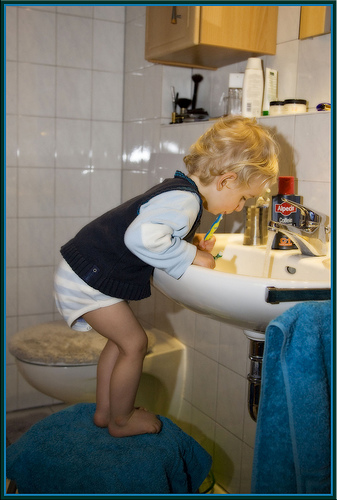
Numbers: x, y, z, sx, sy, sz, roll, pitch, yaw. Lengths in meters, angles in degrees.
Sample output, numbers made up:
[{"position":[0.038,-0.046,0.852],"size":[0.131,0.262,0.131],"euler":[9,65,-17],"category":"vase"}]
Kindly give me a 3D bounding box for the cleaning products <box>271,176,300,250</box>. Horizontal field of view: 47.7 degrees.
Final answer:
[{"position":[0.287,-0.091,0.932],"size":[0.068,0.175,0.044],"euler":[3,13,21],"category":"cleaning products"}]

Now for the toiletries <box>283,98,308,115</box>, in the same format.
[{"position":[0.348,-0.395,1.047],"size":[0.060,0.038,0.060],"euler":[-6,18,-17],"category":"toiletries"}]

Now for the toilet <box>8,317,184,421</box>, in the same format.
[{"position":[-0.277,0.393,1.573],"size":[0.557,0.386,0.458],"euler":[-2,13,-20],"category":"toilet"}]

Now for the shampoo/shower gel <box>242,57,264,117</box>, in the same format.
[{"position":[0.265,-0.510,1.194],"size":[0.074,0.196,0.044],"euler":[-2,5,-19],"category":"shampoo/shower gel"}]

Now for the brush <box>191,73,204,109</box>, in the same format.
[{"position":[0.126,-0.703,1.686],"size":[0.057,0.148,0.041],"euler":[0,5,10],"category":"brush"}]

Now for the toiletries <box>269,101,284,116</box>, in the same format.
[{"position":[0.312,-0.410,1.100],"size":[0.047,0.046,0.048],"euler":[1,11,0],"category":"toiletries"}]

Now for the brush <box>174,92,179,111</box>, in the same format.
[{"position":[0.036,-0.670,1.706],"size":[0.012,0.075,0.008],"euler":[-2,3,-34],"category":"brush"}]
